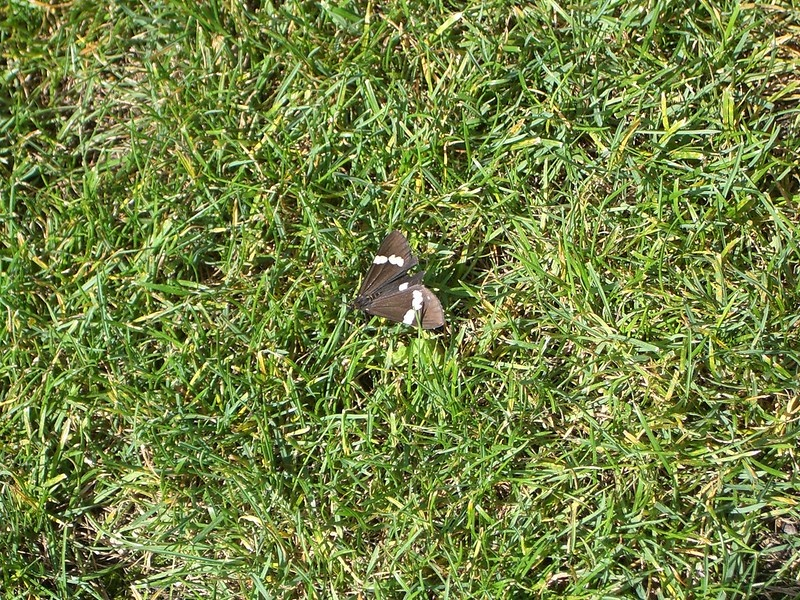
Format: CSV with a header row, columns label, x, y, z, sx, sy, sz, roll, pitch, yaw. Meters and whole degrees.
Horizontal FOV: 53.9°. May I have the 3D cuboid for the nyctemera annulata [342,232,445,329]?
label,x,y,z,sx,sy,sz,roll,pitch,yaw
nyctemera annulata,0.039,-0.022,3.289,0.385,0.248,0.342,33,77,12
